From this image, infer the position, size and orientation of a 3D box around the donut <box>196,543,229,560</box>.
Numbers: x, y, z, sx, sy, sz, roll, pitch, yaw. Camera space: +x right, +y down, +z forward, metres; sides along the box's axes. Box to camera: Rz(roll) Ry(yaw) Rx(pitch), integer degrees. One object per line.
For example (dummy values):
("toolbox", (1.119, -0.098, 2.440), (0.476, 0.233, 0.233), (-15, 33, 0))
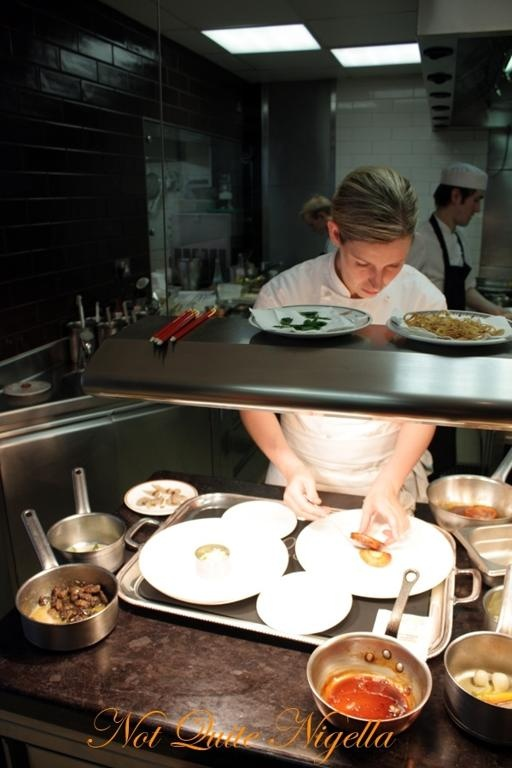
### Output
("donut", (-0.087, 0.334, 1.126), (0.067, 0.012, 0.065), (-7, 12, -16))

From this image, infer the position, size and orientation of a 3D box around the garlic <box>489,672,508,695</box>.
("garlic", (0.354, 0.437, 0.834), (0.018, 0.023, 0.018), (-2, -12, -2))

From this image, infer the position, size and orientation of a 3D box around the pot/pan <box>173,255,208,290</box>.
("pot/pan", (-0.321, -0.545, 2.775), (0.143, 0.159, 0.140), (-5, 13, -18))

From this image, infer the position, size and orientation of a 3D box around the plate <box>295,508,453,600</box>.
("plate", (0.263, 0.303, 1.200), (0.300, 0.096, 0.268), (10, 14, 29))

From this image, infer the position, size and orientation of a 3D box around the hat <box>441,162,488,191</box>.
("hat", (0.881, -0.866, 2.420), (0.137, 0.074, 0.135), (-1, 35, -13))

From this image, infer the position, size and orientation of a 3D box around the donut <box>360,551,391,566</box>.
("donut", (0.237, 0.350, 1.141), (0.059, 0.019, 0.042), (-2, 12, 11))

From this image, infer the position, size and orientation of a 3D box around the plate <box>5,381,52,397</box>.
("plate", (-0.918, 0.021, 2.297), (0.178, 0.043, 0.134), (-12, 14, -34))

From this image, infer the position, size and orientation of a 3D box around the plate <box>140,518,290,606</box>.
("plate", (-0.086, 0.353, 1.156), (0.291, 0.060, 0.276), (2, 13, 25))

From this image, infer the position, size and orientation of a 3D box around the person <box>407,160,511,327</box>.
("person", (0.869, -0.659, 2.605), (0.367, 0.892, 0.467), (6, 12, 19))

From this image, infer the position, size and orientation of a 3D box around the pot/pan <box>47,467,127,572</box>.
("pot/pan", (-0.373, 0.304, 1.241), (0.138, 0.126, 0.239), (-8, 30, -15))
